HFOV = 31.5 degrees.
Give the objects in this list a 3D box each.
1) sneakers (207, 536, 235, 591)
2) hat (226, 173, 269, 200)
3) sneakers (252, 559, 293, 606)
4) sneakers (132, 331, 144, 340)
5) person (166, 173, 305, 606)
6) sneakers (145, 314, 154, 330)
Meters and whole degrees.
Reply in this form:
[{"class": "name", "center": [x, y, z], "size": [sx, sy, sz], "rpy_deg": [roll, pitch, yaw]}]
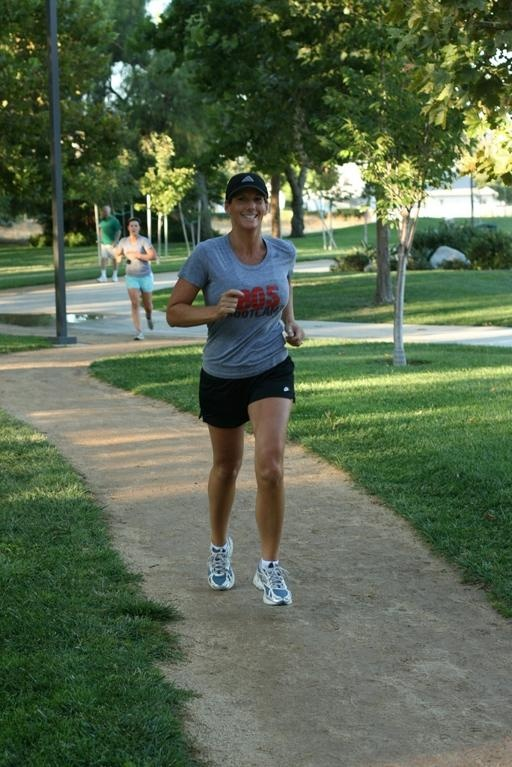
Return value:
[{"class": "sneakers", "center": [-0.169, 0.863, 4.370], "size": [0.100, 0.232, 0.109], "rpy_deg": [-2, -38, 2]}, {"class": "hat", "center": [-0.044, -0.884, 4.094], "size": [0.193, 0.137, 0.269], "rpy_deg": [1, 9, -1]}, {"class": "sneakers", "center": [0.088, 0.902, 4.176], "size": [0.112, 0.109, 0.258], "rpy_deg": [0, 6, -21]}, {"class": "sneakers", "center": [-1.980, -0.763, 15.056], "size": [0.106, 0.105, 0.268], "rpy_deg": [-1, -5, -2]}, {"class": "person", "center": [-0.102, 0.012, 4.234], "size": [0.615, 1.942, 0.672], "rpy_deg": [2, 10, 2]}, {"class": "sneakers", "center": [-1.944, -1.106, 16.454], "size": [0.135, 0.138, 0.353], "rpy_deg": [-9, 32, 5]}]
